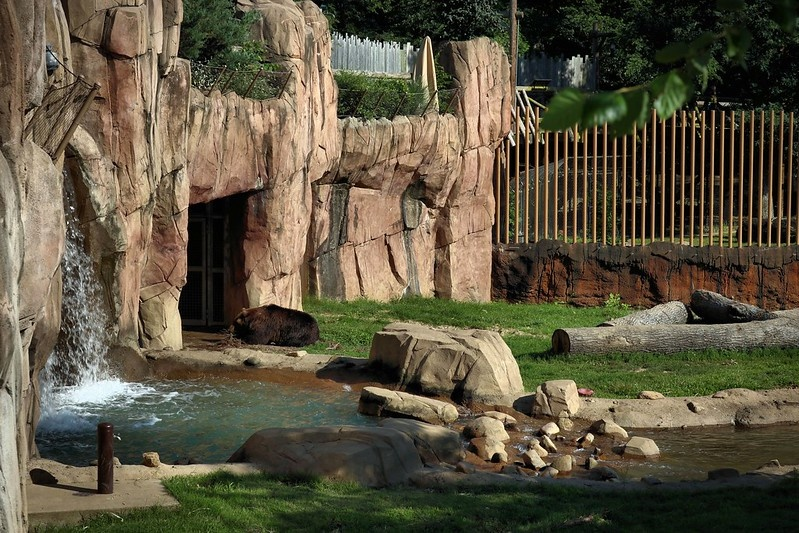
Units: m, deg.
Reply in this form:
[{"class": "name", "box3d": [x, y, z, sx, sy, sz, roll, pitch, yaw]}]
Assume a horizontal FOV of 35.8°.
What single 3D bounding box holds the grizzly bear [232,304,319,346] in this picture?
[{"class": "grizzly bear", "box3d": [-2.289, 1.195, 22.840, 1.543, 0.923, 0.859, 8, -2, -2]}]
